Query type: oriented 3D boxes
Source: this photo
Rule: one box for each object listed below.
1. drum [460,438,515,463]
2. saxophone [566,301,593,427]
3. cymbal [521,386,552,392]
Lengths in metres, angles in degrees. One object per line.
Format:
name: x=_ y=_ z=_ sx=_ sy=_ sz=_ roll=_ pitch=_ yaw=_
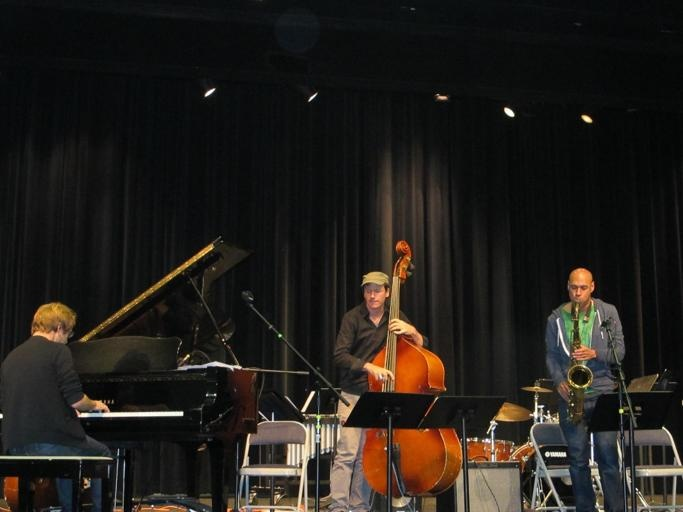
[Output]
drum: x=1.708 y=2.200 z=10.066 sx=0.511 sy=0.318 sz=1.181 roll=-6 pitch=-18 yaw=9
saxophone: x=2.413 y=1.075 z=9.061 sx=0.264 sy=1.228 sz=0.225 roll=-6 pitch=-14 yaw=14
cymbal: x=2.562 y=1.728 z=11.559 sx=0.194 sy=0.075 sz=0.194 roll=4 pitch=-7 yaw=-39
